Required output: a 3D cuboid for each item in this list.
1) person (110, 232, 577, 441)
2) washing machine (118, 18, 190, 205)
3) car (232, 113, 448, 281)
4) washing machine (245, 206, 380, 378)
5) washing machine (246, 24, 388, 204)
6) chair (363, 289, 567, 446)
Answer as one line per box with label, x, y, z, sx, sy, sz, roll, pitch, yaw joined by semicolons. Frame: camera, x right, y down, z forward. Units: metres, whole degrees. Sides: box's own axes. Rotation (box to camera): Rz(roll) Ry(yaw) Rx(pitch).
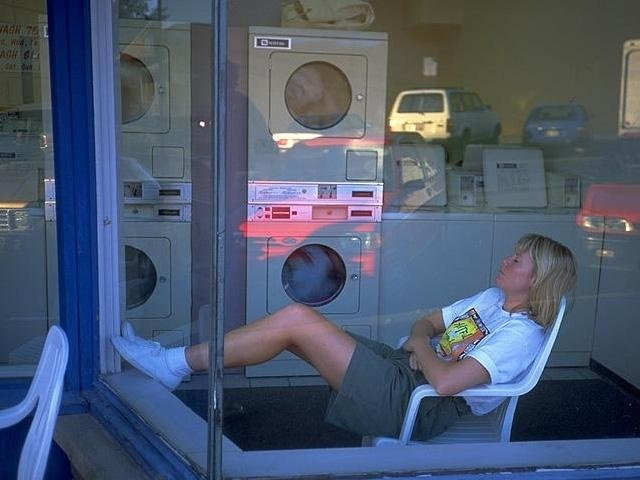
person;0.078;0.402;2.675;2.072;1.031;0.857;7;1;9
washing machine;-0.885;-0.673;3.056;0.371;0.982;0.329;-2;7;-17
car;-0.039;-0.395;3.794;1.046;1.528;0.828;2;15;-7
washing machine;-0.066;0.424;3.715;0.867;0.967;0.734;2;-18;-13
washing machine;-0.003;-0.868;3.689;0.872;1.159;0.654;3;33;1
chair;0.613;0.614;2.854;0.765;1.086;0.615;5;7;2
